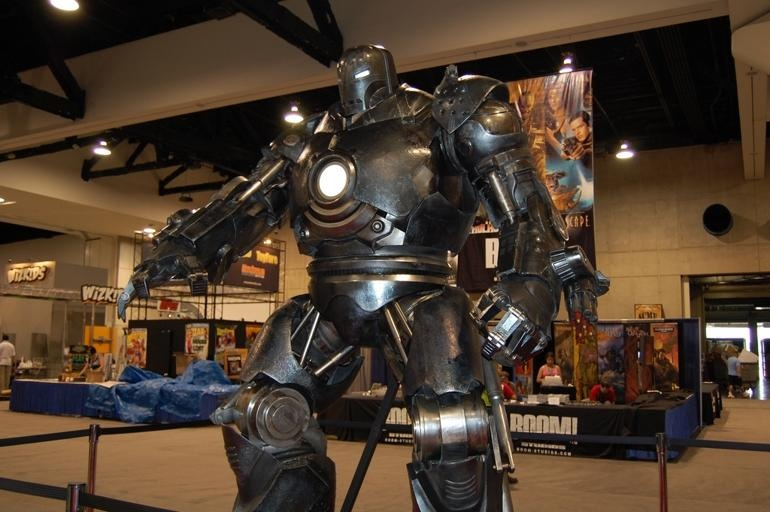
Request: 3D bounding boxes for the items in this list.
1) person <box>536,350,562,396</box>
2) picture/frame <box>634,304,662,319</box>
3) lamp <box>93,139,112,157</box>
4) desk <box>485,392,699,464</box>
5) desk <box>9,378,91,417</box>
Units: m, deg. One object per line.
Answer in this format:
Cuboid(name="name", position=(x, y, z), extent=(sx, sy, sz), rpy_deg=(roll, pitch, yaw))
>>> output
Cuboid(name="person", position=(2.824, 2.242, 10.273), extent=(0.442, 1.041, 0.402), rpy_deg=(0, 7, 25))
Cuboid(name="picture/frame", position=(6.112, 1.252, 13.820), extent=(0.634, 0.347, 0.607), rpy_deg=(-3, -9, 24))
Cuboid(name="lamp", position=(-6.145, -2.433, 12.972), extent=(0.337, 0.159, 0.476), rpy_deg=(3, 18, -5))
Cuboid(name="desk", position=(3.244, 2.403, 8.267), extent=(2.884, 0.755, 1.484), rpy_deg=(4, -9, -20))
Cuboid(name="desk", position=(-6.476, 2.549, 11.520), extent=(1.067, 0.374, 1.091), rpy_deg=(3, -7, 15))
